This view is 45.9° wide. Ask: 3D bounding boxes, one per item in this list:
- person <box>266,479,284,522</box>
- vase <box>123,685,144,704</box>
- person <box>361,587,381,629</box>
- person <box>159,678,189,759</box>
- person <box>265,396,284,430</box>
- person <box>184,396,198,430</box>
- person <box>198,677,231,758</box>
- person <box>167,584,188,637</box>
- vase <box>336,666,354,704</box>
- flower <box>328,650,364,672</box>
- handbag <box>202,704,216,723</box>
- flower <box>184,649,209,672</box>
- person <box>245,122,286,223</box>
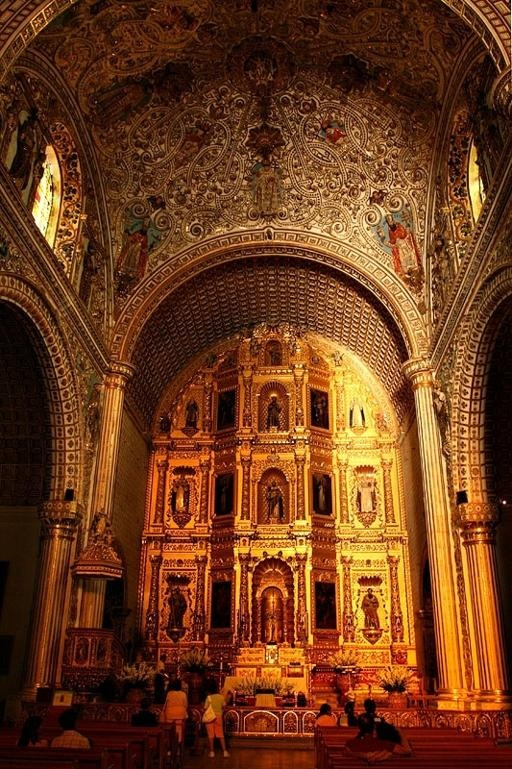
[{"bbox_3d":[0.631,3.819,19.694,0.632,1.345,0.225,2,-24,2],"label":"person"},{"bbox_3d":[-2.305,5.841,11.529,0.422,0.419,0.445,2,-36,-5],"label":"vase"},{"bbox_3d":[3.495,6.861,18.500,0.461,1.241,0.371,5,-25,-6],"label":"person"},{"bbox_3d":[-1.251,4.984,9.262,0.331,1.072,0.281,3,7,-7],"label":"person"},{"bbox_3d":[0.639,0.977,20.716,0.582,1.333,0.274,5,-25,-7],"label":"person"},{"bbox_3d":[-2.246,1.083,21.124,0.470,1.223,0.285,7,-25,-9],"label":"person"},{"bbox_3d":[-0.646,5.530,10.106,0.362,1.100,0.375,0,-2,-2],"label":"person"},{"bbox_3d":[-2.428,6.926,18.470,0.603,1.732,0.176,5,-45,-7],"label":"person"},{"bbox_3d":[2.392,8.083,16.278,0.501,0.863,1.279,-1,-26,7],"label":"vase"},{"bbox_3d":[2.439,7.719,16.828,0.741,0.538,0.760,-18,-32,31],"label":"flower"},{"bbox_3d":[-0.756,5.382,9.869,0.195,0.278,0.297,3,-25,0],"label":"handbag"},{"bbox_3d":[-1.417,6.403,13.997,0.538,0.434,1.241,5,-26,-5],"label":"flower"},{"bbox_3d":[0.261,-5.675,16.193,1.154,0.312,3.106,5,-34,7],"label":"person"}]
